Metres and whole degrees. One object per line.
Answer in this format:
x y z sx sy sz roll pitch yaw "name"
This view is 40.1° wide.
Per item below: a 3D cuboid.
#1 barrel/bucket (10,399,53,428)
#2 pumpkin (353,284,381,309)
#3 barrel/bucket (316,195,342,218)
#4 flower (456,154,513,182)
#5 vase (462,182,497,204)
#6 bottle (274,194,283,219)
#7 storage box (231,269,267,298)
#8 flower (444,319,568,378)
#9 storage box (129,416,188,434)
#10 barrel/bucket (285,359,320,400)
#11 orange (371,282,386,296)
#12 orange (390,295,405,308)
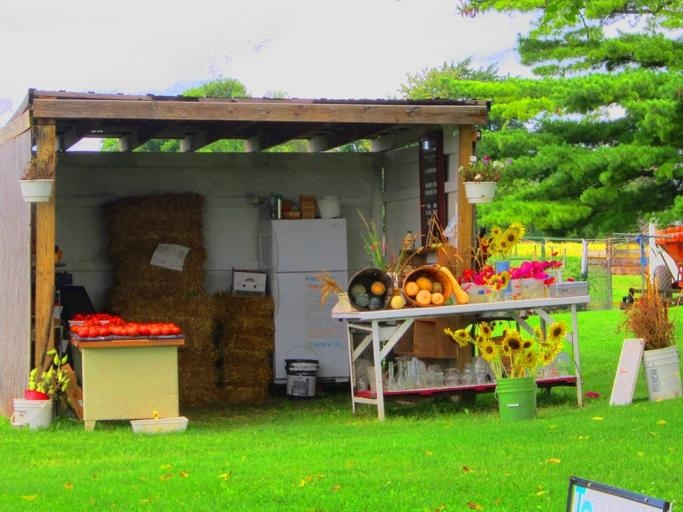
-3.288 1.658 9.962 0.347 0.227 0.330 0 -1 0 "barrel/bucket"
0.288 0.456 10.470 0.269 0.275 0.365 6 21 25 "pumpkin"
-0.177 -0.702 13.254 0.308 0.336 0.270 -2 -5 -4 "barrel/bucket"
1.689 -1.037 11.039 0.587 0.338 0.624 -3 -4 7 "flower"
1.634 -0.746 11.034 0.281 0.176 0.284 -1 -1 45 "vase"
-0.866 -0.691 13.000 0.094 0.356 0.175 -3 -5 8 "bottle"
-1.283 0.351 13.097 0.549 0.370 0.296 2 4 -3 "storage box"
1.906 1.046 10.496 1.236 0.648 1.533 -3 -4 13 "flower"
-1.918 1.777 9.885 0.425 0.100 0.222 -1 -2 -22 "storage box"
-0.533 1.625 12.455 0.412 0.461 0.469 1 0 -6 "barrel/bucket"
0.411 0.356 10.452 0.141 0.143 0.077 26 -12 -10 "orange"
0.628 0.505 10.418 0.117 0.119 0.148 -14 -6 -10 "orange"
